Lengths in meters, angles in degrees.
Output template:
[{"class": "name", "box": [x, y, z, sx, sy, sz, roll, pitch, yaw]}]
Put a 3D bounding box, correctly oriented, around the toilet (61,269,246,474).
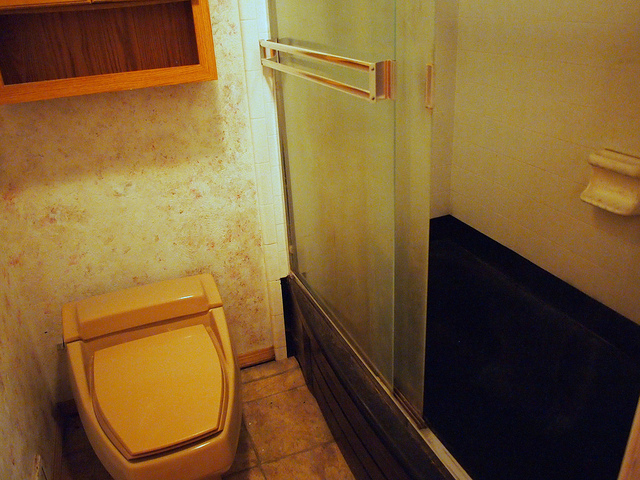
[{"class": "toilet", "box": [-0.584, 0.579, 1.877, 0.577, 0.570, 0.731, -11, 53, -13]}]
